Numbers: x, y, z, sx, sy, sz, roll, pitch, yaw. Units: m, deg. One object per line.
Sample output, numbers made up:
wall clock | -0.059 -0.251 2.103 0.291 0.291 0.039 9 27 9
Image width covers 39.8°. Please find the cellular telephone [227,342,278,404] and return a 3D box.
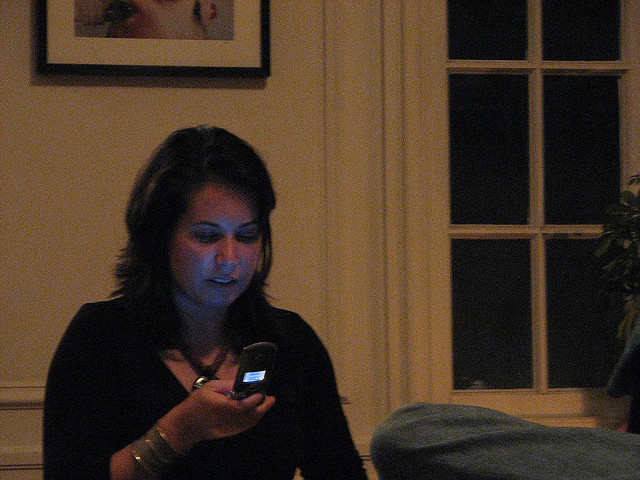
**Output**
cellular telephone | -0.181 0.363 2.394 0.117 0.171 0.068 0 -1 -32

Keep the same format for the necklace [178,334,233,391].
necklace | -0.305 0.352 2.522 0.162 0.113 0.049 -6 0 -18

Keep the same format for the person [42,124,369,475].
person | -0.317 0.175 2.499 0.887 1.009 0.341 0 -1 -14
